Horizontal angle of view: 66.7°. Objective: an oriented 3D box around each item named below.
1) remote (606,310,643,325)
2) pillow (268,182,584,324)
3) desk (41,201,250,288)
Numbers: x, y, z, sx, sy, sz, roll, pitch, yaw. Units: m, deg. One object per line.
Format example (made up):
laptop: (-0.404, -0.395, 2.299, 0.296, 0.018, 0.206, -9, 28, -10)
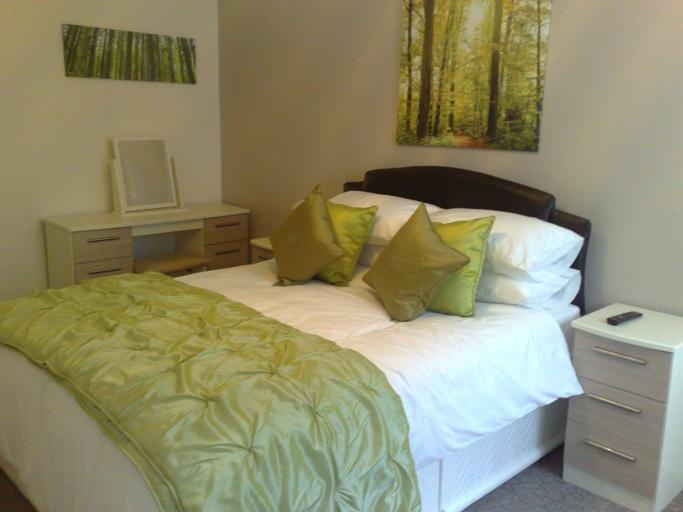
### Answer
remote: (1.414, 0.305, 2.590, 0.255, 0.053, 0.075, -8, 15, -35)
pillow: (0.706, -0.018, 2.965, 1.196, 0.497, 0.447, 11, 17, 31)
desk: (-1.569, -0.018, 4.567, 1.472, 0.899, 0.521, -10, 28, -34)
